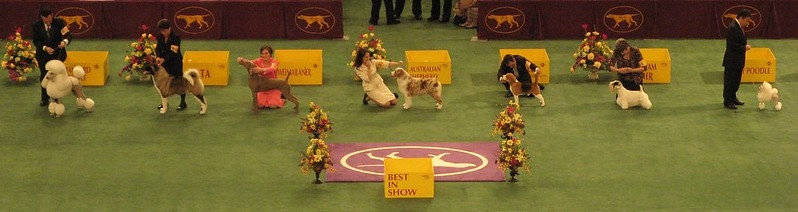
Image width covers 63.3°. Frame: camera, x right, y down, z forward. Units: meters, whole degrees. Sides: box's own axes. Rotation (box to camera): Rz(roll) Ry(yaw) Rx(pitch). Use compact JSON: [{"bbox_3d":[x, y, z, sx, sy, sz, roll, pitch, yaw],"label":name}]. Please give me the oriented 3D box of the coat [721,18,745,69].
[{"bbox_3d":[22.426,-4.091,42.912,1.370,3.066,0.933,-1,18,12],"label":"coat"}]
